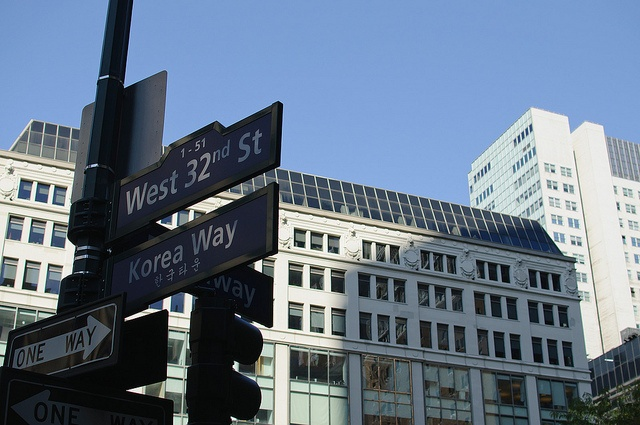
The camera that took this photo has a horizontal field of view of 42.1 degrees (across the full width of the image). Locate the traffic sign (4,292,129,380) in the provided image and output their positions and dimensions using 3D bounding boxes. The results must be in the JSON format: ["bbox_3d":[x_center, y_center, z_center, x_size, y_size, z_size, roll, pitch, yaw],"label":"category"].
[{"bbox_3d":[-2.797,1.404,9.133,1.514,0.780,0.208,-12,-31,18],"label":"traffic sign"}]

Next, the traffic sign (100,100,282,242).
[{"bbox_3d":[-1.636,-0.451,9.989,1.809,0.820,0.104,-24,-46,22],"label":"traffic sign"}]
